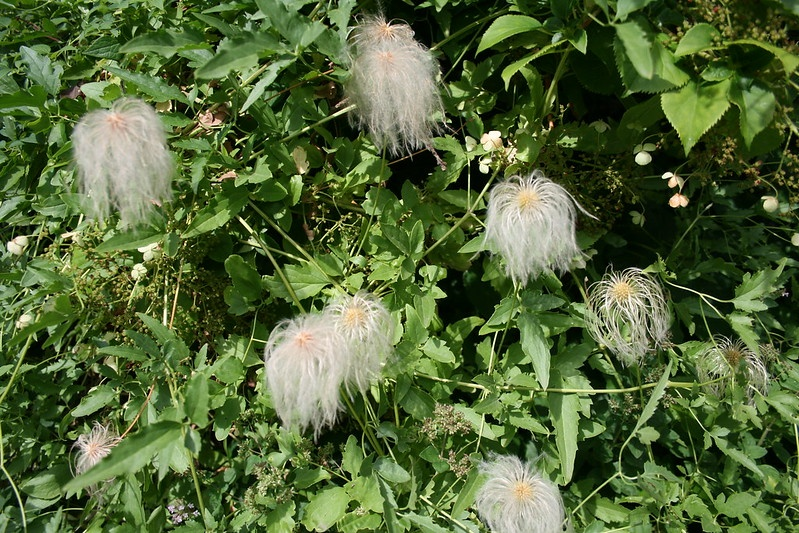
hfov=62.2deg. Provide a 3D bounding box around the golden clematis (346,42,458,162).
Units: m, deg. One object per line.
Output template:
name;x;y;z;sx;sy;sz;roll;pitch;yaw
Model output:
golden clematis;0.005;-0.645;2.588;0.277;0.340;0.264;-30;44;-9

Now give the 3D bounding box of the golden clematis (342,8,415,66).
golden clematis;-0.117;-0.887;2.558;0.307;0.156;0.241;-21;31;-30
